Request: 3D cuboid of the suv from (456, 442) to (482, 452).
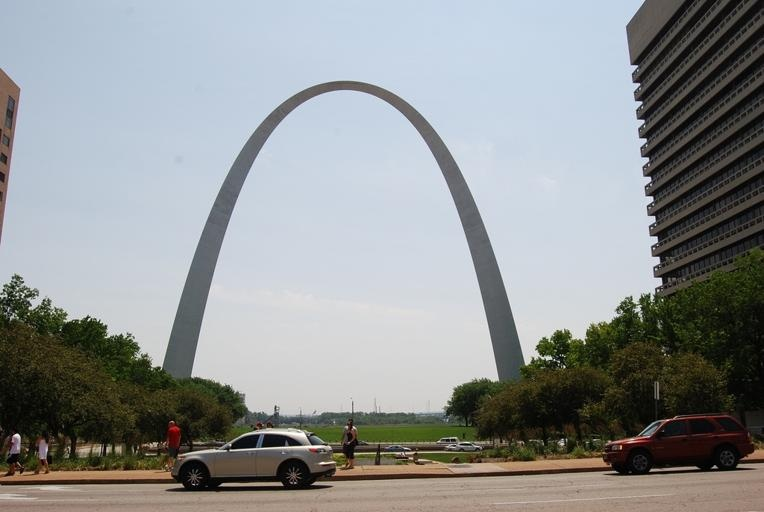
[{"bbox_3d":[10.590,23.356,69.663,2.667,1.358,4.605,-6,-23,10],"label":"suv"}]
